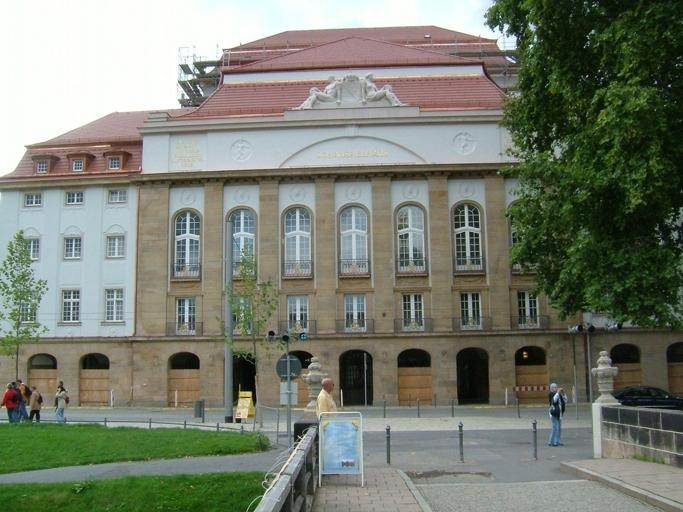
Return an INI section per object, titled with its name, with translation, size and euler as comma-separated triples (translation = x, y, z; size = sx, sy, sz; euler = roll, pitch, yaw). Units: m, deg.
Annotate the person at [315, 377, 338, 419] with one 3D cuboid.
[person]
translation = -0.402, 4.141, 23.487
size = 0.538, 1.103, 1.092
euler = 1, -5, -2
